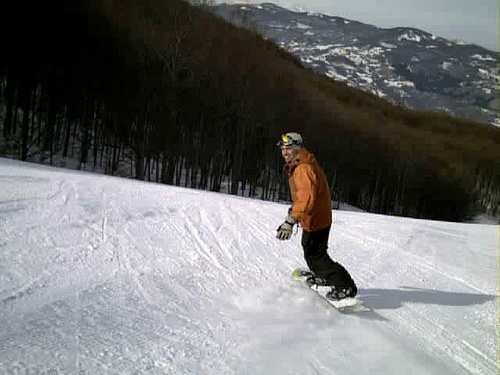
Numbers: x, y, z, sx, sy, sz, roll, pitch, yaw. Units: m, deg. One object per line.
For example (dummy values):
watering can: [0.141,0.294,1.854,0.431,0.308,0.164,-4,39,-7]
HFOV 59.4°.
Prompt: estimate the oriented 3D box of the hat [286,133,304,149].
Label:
hat: [0.471,-0.487,4.576,0.142,0.115,0.204,15,2,12]

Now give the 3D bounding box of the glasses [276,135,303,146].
glasses: [0.415,-0.493,4.565,0.233,0.145,0.191,4,13,-1]

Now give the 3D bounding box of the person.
person: [0.568,0.325,4.747,0.740,1.793,0.767,-6,3,-33]

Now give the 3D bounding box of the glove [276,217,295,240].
glove: [0.375,0.406,4.467,0.148,0.278,0.111,31,-25,-7]

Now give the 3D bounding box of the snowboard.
snowboard: [0.857,1.038,4.753,0.267,0.212,1.021,-3,18,-22]
